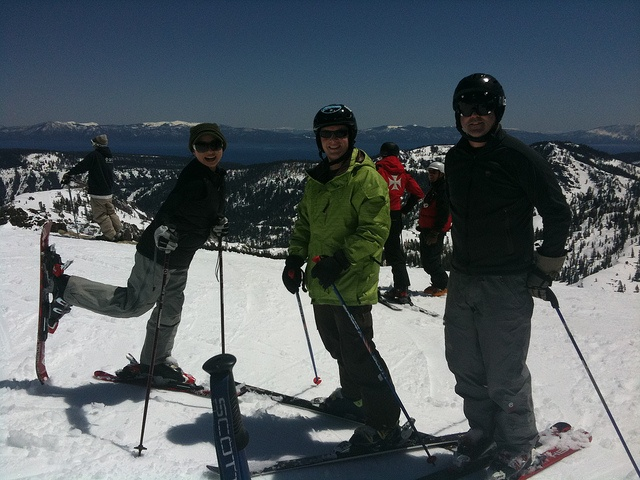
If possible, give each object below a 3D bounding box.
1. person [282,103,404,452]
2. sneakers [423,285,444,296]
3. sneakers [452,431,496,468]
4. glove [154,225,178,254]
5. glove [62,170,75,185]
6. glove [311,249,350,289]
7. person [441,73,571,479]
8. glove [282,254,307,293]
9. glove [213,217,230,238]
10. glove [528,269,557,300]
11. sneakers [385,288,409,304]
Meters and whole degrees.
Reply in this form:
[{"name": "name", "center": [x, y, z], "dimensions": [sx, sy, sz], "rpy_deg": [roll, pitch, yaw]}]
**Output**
[{"name": "person", "center": [0.250, 0.402, 6.376], "dimensions": [1.395, 3.803, 0.781], "rpy_deg": [9, 15, 38]}, {"name": "sneakers", "center": [2.363, 1.044, 11.534], "dimensions": [0.345, 0.169, 0.183], "rpy_deg": [-8, 7, -14]}, {"name": "sneakers", "center": [1.704, 2.314, 6.311], "dimensions": [0.612, 0.275, 0.205], "rpy_deg": [-41, 48, -16]}, {"name": "glove", "center": [-1.803, -0.006, 6.515], "dimensions": [0.237, 0.340, 0.127], "rpy_deg": [-19, 8, -5]}, {"name": "glove", "center": [-5.967, -1.460, 13.240], "dimensions": [0.087, 0.344, 0.367], "rpy_deg": [29, 30, -42]}, {"name": "glove", "center": [0.120, 0.301, 6.068], "dimensions": [0.410, 0.418, 0.126], "rpy_deg": [-43, 25, -19]}, {"name": "person", "center": [1.920, 0.423, 5.989], "dimensions": [1.258, 4.328, 0.729], "rpy_deg": [4, 12, 21]}, {"name": "glove", "center": [-0.287, 0.388, 6.555], "dimensions": [0.140, 0.426, 0.305], "rpy_deg": [4, -7, -4]}, {"name": "glove", "center": [-1.256, -0.158, 7.102], "dimensions": [0.188, 0.251, 0.231], "rpy_deg": [0, -11, -27]}, {"name": "glove", "center": [2.307, 0.451, 5.907], "dimensions": [0.304, 0.315, 0.243], "rpy_deg": [1, 14, 6]}, {"name": "sneakers", "center": [1.501, 1.046, 10.853], "dimensions": [0.548, 0.270, 0.206], "rpy_deg": [15, 15, 38]}]
